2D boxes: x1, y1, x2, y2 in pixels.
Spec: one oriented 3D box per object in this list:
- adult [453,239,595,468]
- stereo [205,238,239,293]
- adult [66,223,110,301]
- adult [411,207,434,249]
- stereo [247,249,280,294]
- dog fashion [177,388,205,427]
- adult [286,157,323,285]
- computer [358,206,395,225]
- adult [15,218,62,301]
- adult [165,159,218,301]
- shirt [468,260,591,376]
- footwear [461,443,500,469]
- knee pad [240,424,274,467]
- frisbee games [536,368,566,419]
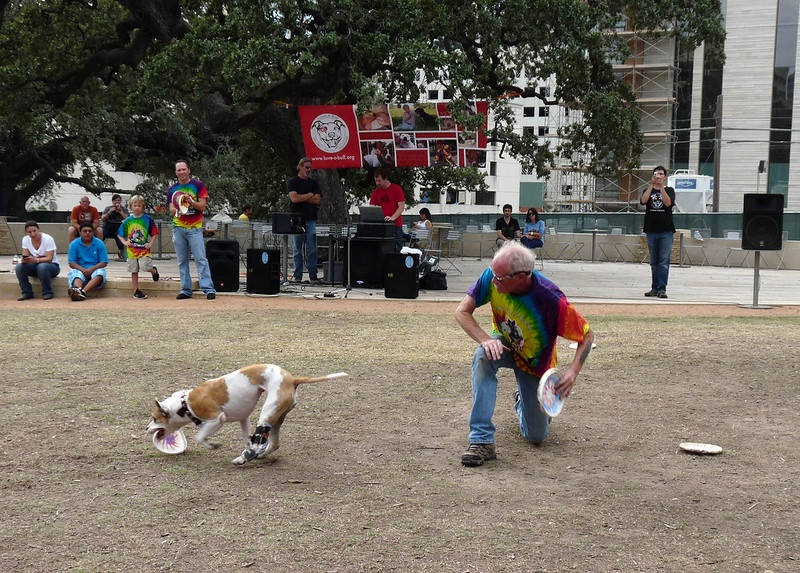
[{"bbox_3d":[1.138,0.598,8.236,1.486,1.826,1.093,1,12,-38],"label":"adult"},{"bbox_3d":[-3.107,-0.307,16.471,0.608,0.935,0.563,-2,-13,2],"label":"stereo"},{"bbox_3d":[-5.205,-0.436,15.490,0.664,1.094,1.402,-3,17,-10],"label":"adult"},{"bbox_3d":[0.492,-1.140,21.826,0.419,1.311,0.510,5,-4,-20],"label":"adult"},{"bbox_3d":[-2.368,-0.252,16.154,0.565,0.768,0.354,0,3,-12],"label":"stereo"},{"bbox_3d":[-1.777,1.023,7.917,0.201,0.260,0.132,-26,4,-14],"label":"dog fashion"},{"bbox_3d":[-1.779,-1.161,17.205,0.598,2.242,1.852,0,3,-6],"label":"adult"},{"bbox_3d":[-0.504,-1.270,16.668,0.448,0.294,0.424,1,3,-2],"label":"computer"},{"bbox_3d":[-6.082,-0.430,15.610,0.645,1.270,0.414,0,3,-14],"label":"adult"},{"bbox_3d":[-3.359,-0.901,15.103,0.734,2.238,1.047,0,3,-12],"label":"adult"},{"bbox_3d":[1.257,0.340,9.129,0.600,0.942,1.180,-28,36,-28],"label":"shirt"},{"bbox_3d":[0.671,1.418,7.949,0.125,0.161,0.336,-7,-12,35],"label":"footwear"},{"bbox_3d":[-1.159,1.259,7.853,0.148,0.411,0.215,17,-30,13],"label":"knee pad"},{"bbox_3d":[1.251,0.878,7.834,0.136,0.388,0.377,2,3,28],"label":"frisbee games"}]
